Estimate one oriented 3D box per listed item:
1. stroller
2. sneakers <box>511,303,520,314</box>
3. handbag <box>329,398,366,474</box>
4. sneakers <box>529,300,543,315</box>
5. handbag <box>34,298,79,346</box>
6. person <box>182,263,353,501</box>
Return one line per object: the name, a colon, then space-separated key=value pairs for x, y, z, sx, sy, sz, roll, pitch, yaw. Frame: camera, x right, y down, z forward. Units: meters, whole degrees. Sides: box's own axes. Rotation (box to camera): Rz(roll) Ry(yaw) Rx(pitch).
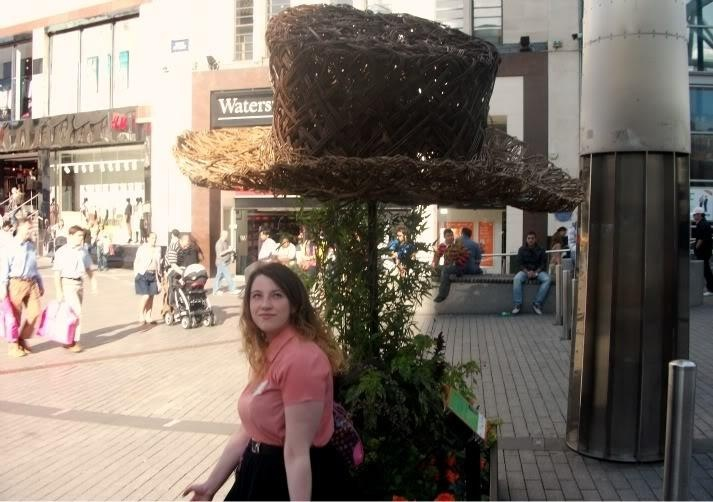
stroller: x=-3.466 y=0.830 z=13.354 sx=0.618 sy=1.222 sz=1.037 roll=1 pitch=13 yaw=-21
sneakers: x=3.805 y=1.367 z=14.634 sx=0.227 sy=0.233 sz=0.183 roll=0 pitch=4 yaw=15
handbag: x=-0.069 y=1.262 z=4.163 sx=0.113 sy=0.437 sz=0.238 roll=-22 pitch=-10 yaw=-9
sneakers: x=4.270 y=1.338 z=14.548 sx=0.374 sy=0.156 sz=0.134 roll=50 pitch=10 yaw=27
handbag: x=-5.251 y=1.242 z=10.769 sx=0.637 sy=0.762 sz=0.274 roll=9 pitch=-4 yaw=19
person: x=-0.461 y=0.870 z=4.129 sx=0.831 sy=1.558 sz=0.453 roll=1 pitch=3 yaw=23
